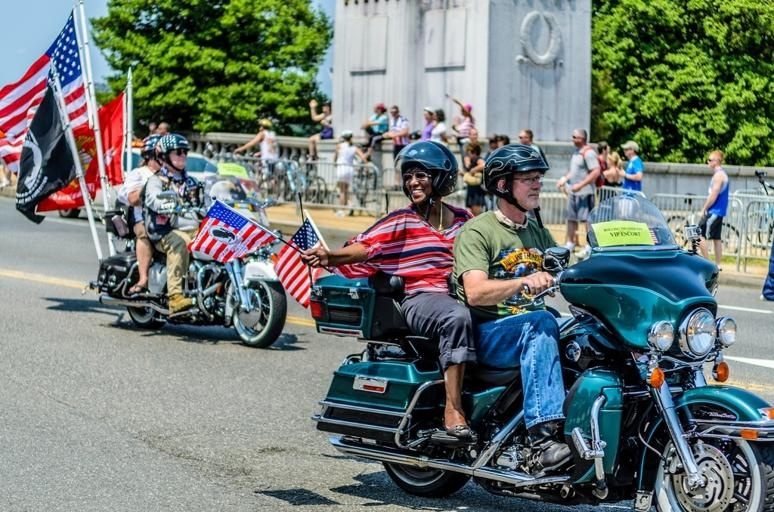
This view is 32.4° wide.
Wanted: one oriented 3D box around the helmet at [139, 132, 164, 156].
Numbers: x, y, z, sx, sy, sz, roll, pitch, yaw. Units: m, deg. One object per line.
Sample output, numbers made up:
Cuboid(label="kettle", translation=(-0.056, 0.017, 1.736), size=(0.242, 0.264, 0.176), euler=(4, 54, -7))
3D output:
Cuboid(label="helmet", translation=(-2.962, -1.429, 17.021), size=(0.317, 0.312, 0.246), euler=(6, -1, 39))

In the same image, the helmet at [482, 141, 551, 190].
Cuboid(label="helmet", translation=(1.192, -0.829, 12.306), size=(0.492, 0.407, 0.392), euler=(-2, -1, 29))

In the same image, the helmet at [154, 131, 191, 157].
Cuboid(label="helmet", translation=(-2.704, -1.409, 16.663), size=(0.247, 0.231, 0.332), euler=(-5, 7, -44))

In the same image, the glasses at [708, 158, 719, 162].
Cuboid(label="glasses", translation=(5.532, -1.630, 22.566), size=(0.092, 0.071, 0.090), euler=(5, -5, -23))

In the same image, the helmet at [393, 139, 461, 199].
Cuboid(label="helmet", translation=(0.435, -0.824, 12.847), size=(0.442, 0.487, 0.597), euler=(-4, -2, 36))

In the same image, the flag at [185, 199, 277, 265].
Cuboid(label="flag", translation=(-1.952, -0.276, 16.308), size=(0.937, 0.917, 0.142), euler=(-4, 42, 34))

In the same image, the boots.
Cuboid(label="boots", translation=(1.490, 1.736, 11.931), size=(0.334, 0.511, 0.515), euler=(11, -33, -39))

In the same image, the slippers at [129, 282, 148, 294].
Cuboid(label="slippers", translation=(-3.145, 0.406, 17.020), size=(0.286, 0.116, 0.105), euler=(1, -2, 19))

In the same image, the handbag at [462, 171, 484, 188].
Cuboid(label="handbag", translation=(1.566, -1.367, 23.958), size=(0.423, 0.361, 0.647), euler=(1, -5, 2))
